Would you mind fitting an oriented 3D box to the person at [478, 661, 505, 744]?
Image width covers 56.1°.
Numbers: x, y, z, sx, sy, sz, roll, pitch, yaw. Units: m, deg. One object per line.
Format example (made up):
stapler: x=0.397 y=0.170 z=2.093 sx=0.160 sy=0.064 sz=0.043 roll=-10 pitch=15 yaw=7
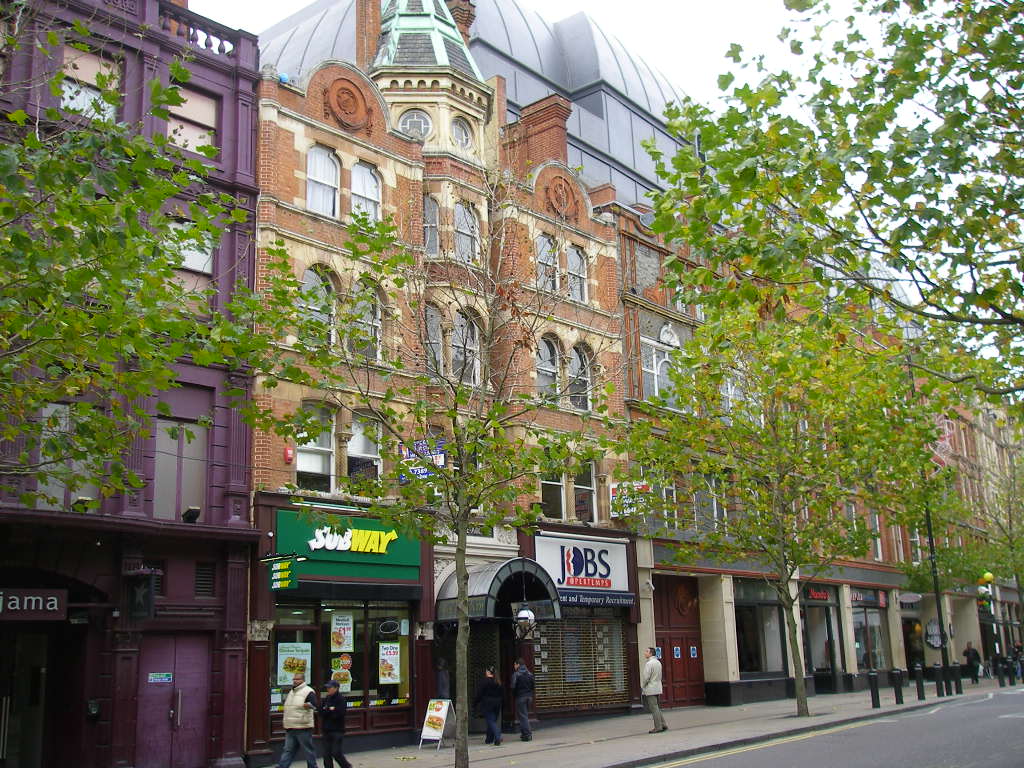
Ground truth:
person: x=-0.561 y=8.281 z=24.634 sx=0.508 sy=1.857 sz=1.071 roll=-2 pitch=-18 yaw=0
